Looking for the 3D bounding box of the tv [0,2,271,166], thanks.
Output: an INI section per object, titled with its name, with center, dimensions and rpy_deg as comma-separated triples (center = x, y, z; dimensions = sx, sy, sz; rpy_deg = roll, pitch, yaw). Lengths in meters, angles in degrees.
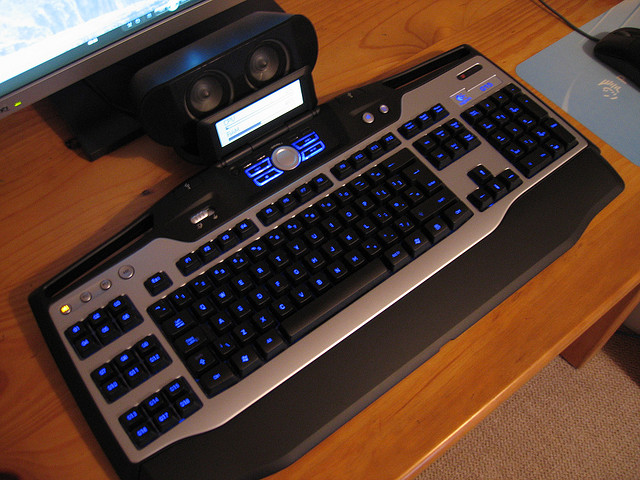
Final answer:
[tv]
center = -0.268, -0.223, 0.780
dimensions = 0.280, 0.125, 0.187
rpy_deg = -32, -18, -19
